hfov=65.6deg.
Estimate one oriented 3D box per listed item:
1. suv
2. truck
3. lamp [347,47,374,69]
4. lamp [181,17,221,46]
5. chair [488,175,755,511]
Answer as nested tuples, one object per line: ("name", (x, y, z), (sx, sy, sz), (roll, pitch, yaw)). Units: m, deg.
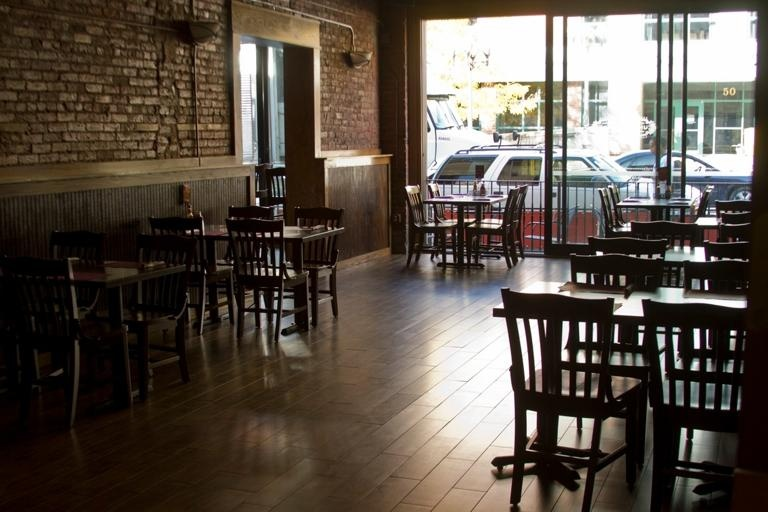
("suv", (3.306, -1.311, 10.541), (4.177, 1.241, 2.295), (0, 7, 20))
("truck", (1.468, -3.025, 14.131), (2.474, 1.379, 1.496), (0, 9, 9))
("lamp", (-0.437, -3.159, 9.616), (0.301, 0.168, 0.362), (0, 4, -13))
("lamp", (-2.007, -2.456, 6.569), (0.310, 0.231, 0.258), (-12, 14, -20))
("chair", (1.304, 0.712, 3.374), (1.204, 1.182, 1.175), (6, 13, 30))
